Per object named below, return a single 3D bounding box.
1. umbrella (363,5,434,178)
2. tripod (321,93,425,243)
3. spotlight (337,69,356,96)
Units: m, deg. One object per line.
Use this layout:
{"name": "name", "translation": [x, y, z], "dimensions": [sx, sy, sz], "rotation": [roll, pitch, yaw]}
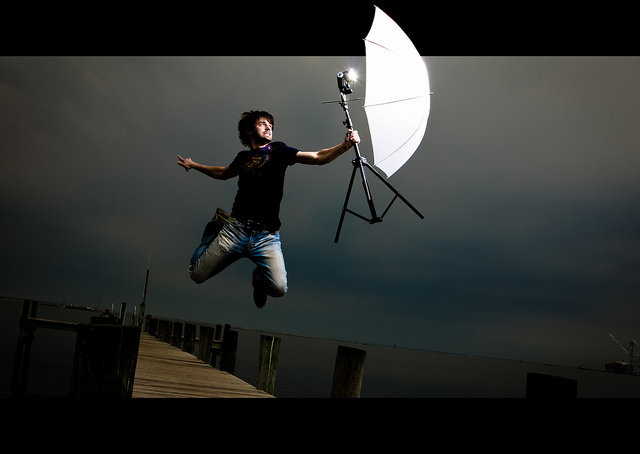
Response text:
{"name": "umbrella", "translation": [1.115, -2.005, 9.864], "dimensions": [1.158, 2.413, 0.499], "rotation": [12, -14, -12]}
{"name": "tripod", "translation": [0.481, -0.963, 9.941], "dimensions": [1.258, 2.198, 1.350], "rotation": [-18, 8, -15]}
{"name": "spotlight", "translation": [0.428, -2.187, 9.869], "dimensions": [0.161, 0.553, 0.216], "rotation": [4, 7, -12]}
